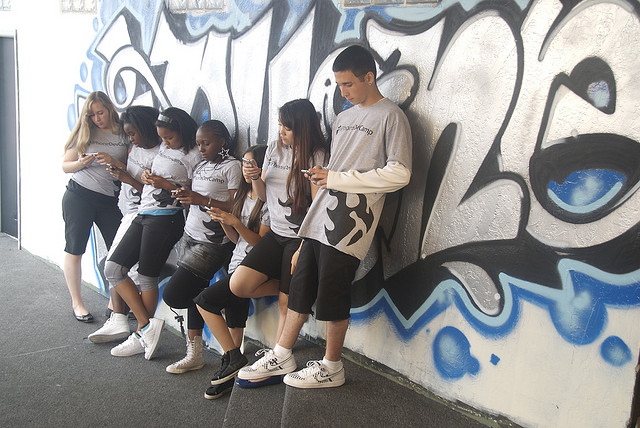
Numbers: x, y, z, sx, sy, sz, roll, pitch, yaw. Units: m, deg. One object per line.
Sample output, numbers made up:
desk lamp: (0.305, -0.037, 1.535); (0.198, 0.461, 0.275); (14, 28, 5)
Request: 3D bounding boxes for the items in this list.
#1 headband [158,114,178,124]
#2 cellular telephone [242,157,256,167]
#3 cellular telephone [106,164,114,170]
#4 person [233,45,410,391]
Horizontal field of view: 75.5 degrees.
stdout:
headband: (-1.266, -0.789, 3.442); (0.148, 0.067, 0.067); (0, 18, -17)
cellular telephone: (-0.502, -0.370, 2.950); (0.083, 0.016, 0.150); (36, -15, -14)
cellular telephone: (-1.903, -0.432, 3.755); (0.075, 0.023, 0.055); (24, -6, -2)
person: (0.107, 0.088, 2.528); (0.562, 2.118, 0.760); (18, 22, 38)
